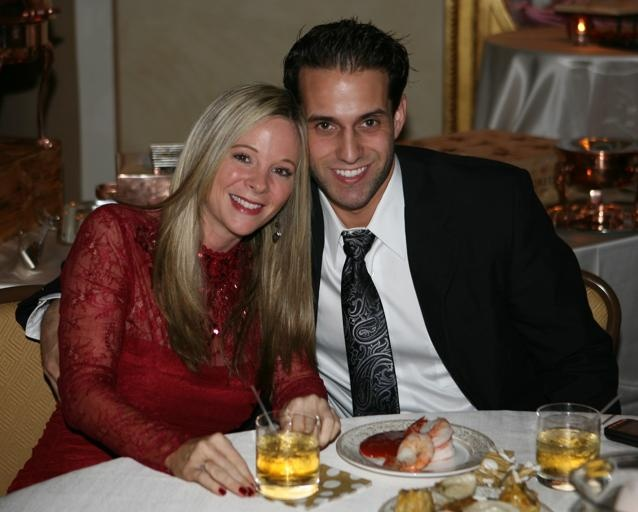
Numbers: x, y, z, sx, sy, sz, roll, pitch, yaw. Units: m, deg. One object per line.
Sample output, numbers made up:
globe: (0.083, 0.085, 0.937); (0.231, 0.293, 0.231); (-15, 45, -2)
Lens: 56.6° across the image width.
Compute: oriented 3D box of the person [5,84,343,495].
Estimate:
person: (-0.444, 0.160, 1.990); (0.750, 1.685, 0.738); (5, 11, 33)

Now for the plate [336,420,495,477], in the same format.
plate: (0.225, 0.415, 1.406); (0.310, 0.083, 0.255); (-5, 11, -20)

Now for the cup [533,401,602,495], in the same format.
cup: (0.512, 0.392, 1.206); (0.083, 0.192, 0.094); (6, 19, 10)

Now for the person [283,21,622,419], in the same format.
person: (0.420, 0.134, 2.409); (0.855, 1.864, 0.910); (2, 25, -8)

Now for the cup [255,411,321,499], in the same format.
cup: (-0.068, 0.420, 1.321); (0.143, 0.181, 0.152); (-1, 9, 0)

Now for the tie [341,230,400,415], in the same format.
tie: (0.192, 0.240, 2.177); (0.196, 0.667, 0.179); (-1, 7, 4)
